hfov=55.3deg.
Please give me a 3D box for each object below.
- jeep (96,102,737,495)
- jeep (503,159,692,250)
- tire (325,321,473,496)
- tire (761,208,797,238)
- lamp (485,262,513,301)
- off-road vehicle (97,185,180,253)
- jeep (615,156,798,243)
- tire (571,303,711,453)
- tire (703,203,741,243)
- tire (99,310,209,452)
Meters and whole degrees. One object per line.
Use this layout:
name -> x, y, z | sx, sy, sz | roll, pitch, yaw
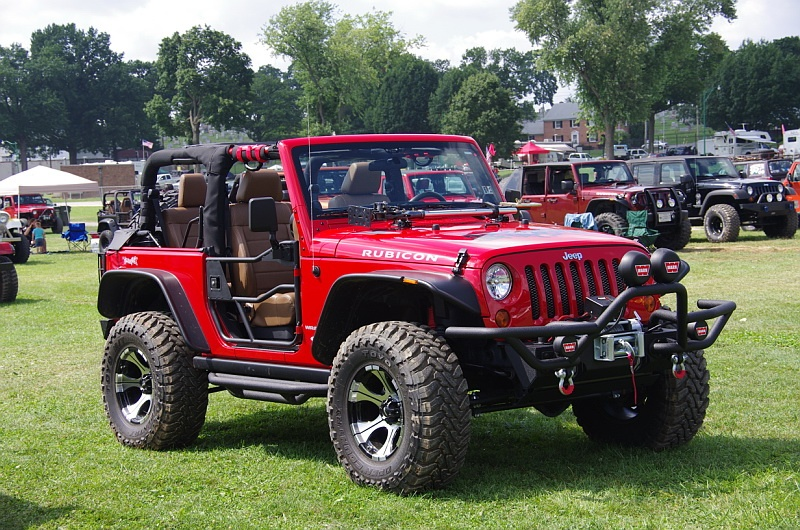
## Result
jeep -> -0.287, 0.451, 7.194 | 5.496, 2.720, 3.142 | 0, 2, 44
jeep -> 4.564, -1.552, 19.894 | 5.057, 2.455, 2.818 | 2, 5, 43
tire -> -0.061, 1.211, 6.359 | 0.512, 1.409, 1.417 | 3, -6, -38
tire -> 10.546, -1.196, 21.229 | 0.336, 0.805, 0.802 | -2, -4, -32
lamp -> 0.772, 0.131, 5.989 | 0.224, 0.263, 0.270 | -7, -1, -27
off-road vehicle -> -5.745, -0.783, 17.076 | 1.549, 1.661, 2.689 | 12, 2, -16
jeep -> 8.577, -1.968, 21.875 | 2.571, 2.188, 4.409 | -6, 8, -42
tire -> 2.071, 0.950, 6.505 | 0.444, 1.264, 1.258 | 1, 7, -41
tire -> 8.843, -1.165, 20.944 | 0.379, 1.088, 1.052 | 2, -4, -23
tire -> -2.370, 1.140, 7.431 | 0.461, 1.287, 1.276 | -5, 6, -43
